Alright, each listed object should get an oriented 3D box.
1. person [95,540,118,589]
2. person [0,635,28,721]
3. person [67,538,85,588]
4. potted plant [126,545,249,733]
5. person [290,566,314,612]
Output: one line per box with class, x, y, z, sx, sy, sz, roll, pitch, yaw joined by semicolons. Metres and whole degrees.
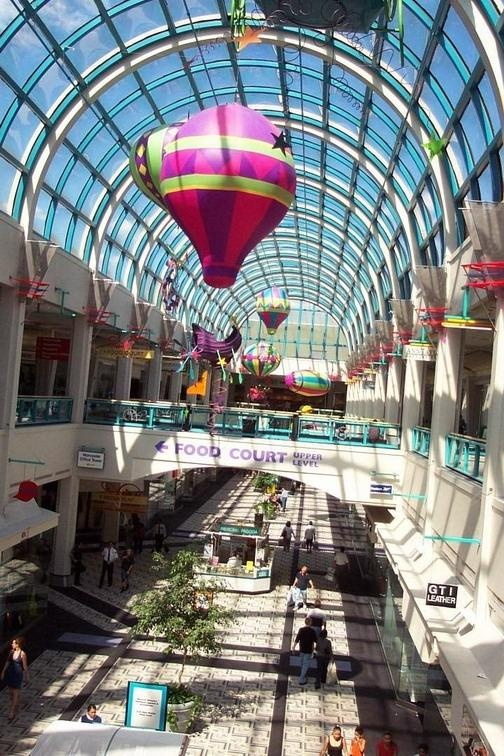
person;-5.979;7.614;17.702;0.620;1.811;1.275;1;-3;-19
person;-4.942;6.099;8.842;0.450;1.566;1.465;1;-3;-23
person;-7.308;7.680;17.839;0.496;1.681;1.235;1;-3;-23
potted plant;-1.367;5.316;8.818;1.562;3.031;2.096;-30;-43;32
person;1.872;7.984;16.443;0.816;1.961;1.521;0;-3;5
